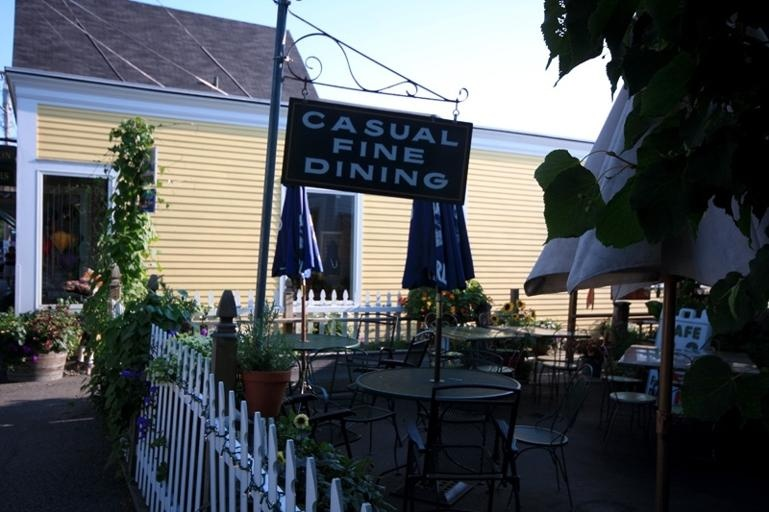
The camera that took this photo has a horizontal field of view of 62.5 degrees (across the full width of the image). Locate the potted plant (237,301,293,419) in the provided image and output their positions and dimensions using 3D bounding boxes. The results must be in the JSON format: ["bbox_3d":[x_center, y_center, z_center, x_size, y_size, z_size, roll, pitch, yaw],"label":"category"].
[{"bbox_3d":[-0.940,0.853,4.939,0.454,0.810,0.434,-5,-12,11],"label":"potted plant"}]

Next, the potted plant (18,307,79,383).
[{"bbox_3d":[-4.876,1.277,8.905,0.791,1.003,0.649,-8,-7,34],"label":"potted plant"}]
